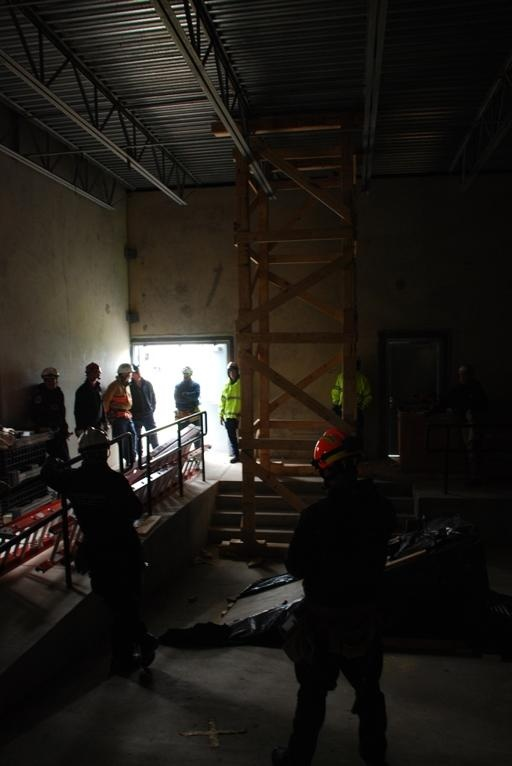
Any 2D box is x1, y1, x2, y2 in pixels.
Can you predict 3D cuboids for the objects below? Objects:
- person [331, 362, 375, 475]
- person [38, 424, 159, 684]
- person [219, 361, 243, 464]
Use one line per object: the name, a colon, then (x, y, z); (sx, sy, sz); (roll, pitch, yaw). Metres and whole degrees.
person: (1.486, 0.442, 9.366); (0.584, 1.727, 0.487); (6, 31, 9)
person: (-1.072, 1.216, 4.219); (0.663, 1.632, 0.287); (-3, 0, -20)
person: (-0.453, 0.559, 10.826); (0.354, 1.776, 0.634); (-3, 0, -4)
